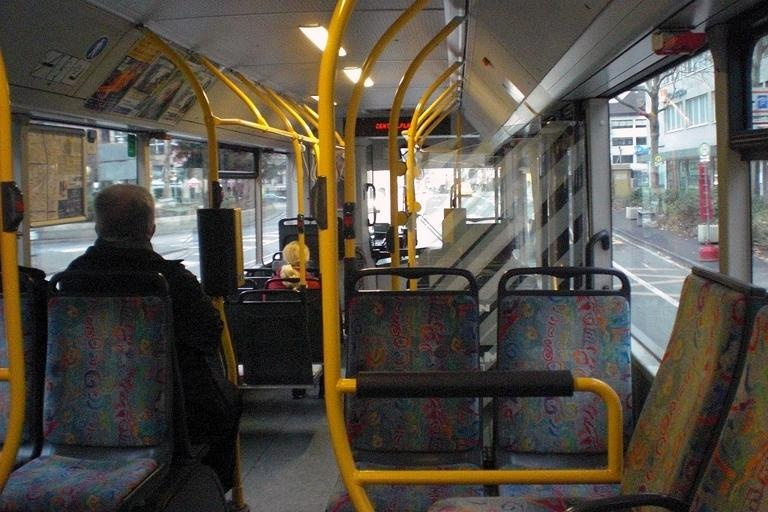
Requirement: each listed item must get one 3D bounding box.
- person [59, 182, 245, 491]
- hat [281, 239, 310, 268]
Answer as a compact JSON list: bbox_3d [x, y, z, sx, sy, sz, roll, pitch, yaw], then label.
[{"bbox_3d":[-1.278,0.591,3.548,0.891,2.034,0.565,-4,4,-30],"label":"person"},{"bbox_3d":[-0.960,-0.031,6.445,0.295,0.361,0.379,1,5,10],"label":"hat"}]
